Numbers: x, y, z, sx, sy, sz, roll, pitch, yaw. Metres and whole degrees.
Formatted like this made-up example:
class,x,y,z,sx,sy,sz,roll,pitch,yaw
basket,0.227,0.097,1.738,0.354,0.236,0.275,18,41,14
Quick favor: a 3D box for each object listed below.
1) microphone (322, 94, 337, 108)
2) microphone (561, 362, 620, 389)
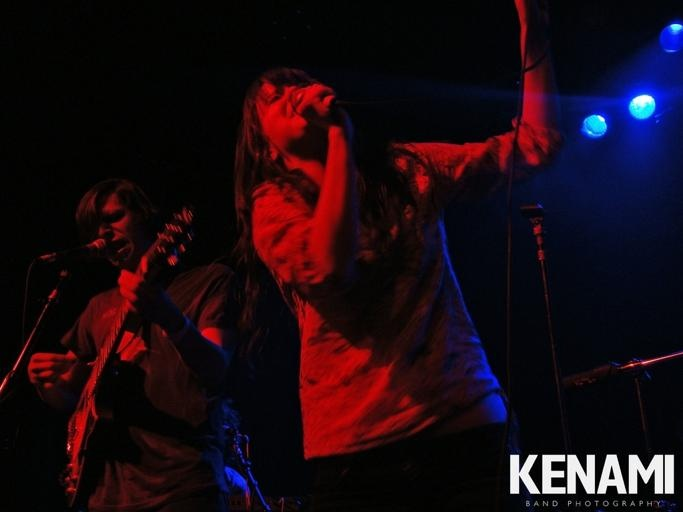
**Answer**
class,x,y,z,sx,sy,sz,roll,pitch,yaw
microphone,-0.047,-0.526,2.307,0.048,0.048,0.043,-7,28,-45
microphone,0.968,0.463,2.627,0.172,0.041,0.051,-19,-44,11
